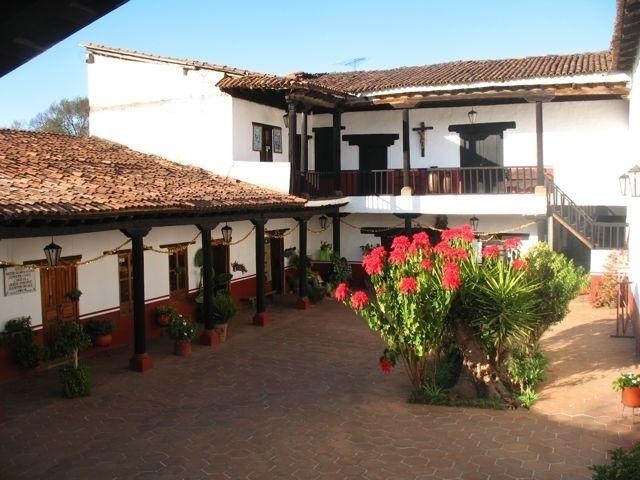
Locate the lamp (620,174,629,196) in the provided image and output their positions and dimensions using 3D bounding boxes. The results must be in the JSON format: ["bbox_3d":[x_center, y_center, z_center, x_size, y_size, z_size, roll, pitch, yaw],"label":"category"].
[{"bbox_3d":[9.930,-1.795,16.072,0.233,0.687,1.171,2,6,31],"label":"lamp"}]

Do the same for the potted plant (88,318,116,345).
[{"bbox_3d":[-5.253,2.204,11.854,0.567,0.616,0.565,1,-1,-23],"label":"potted plant"}]

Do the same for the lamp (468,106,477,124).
[{"bbox_3d":[5.554,-4.541,17.877,0.310,0.577,0.482,1,5,17],"label":"lamp"}]

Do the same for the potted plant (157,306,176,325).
[{"bbox_3d":[-4.152,1.986,13.362,0.518,0.589,0.565,1,-1,1],"label":"potted plant"}]

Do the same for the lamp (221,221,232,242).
[{"bbox_3d":[-2.672,-0.159,14.072,0.248,0.495,0.533,-2,5,-14],"label":"lamp"}]

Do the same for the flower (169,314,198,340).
[{"bbox_3d":[-3.331,2.020,11.869,0.486,0.467,0.608,5,44,-14],"label":"flower"}]

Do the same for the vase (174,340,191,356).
[{"bbox_3d":[-3.279,2.585,11.803,0.335,0.309,0.336,2,-4,-29],"label":"vase"}]

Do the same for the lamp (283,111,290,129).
[{"bbox_3d":[-1.210,-4.253,17.272,0.180,0.539,0.582,-2,5,-10],"label":"lamp"}]

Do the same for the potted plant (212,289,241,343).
[{"bbox_3d":[-2.418,2.103,13.338,0.681,1.318,0.794,-2,-15,38],"label":"potted plant"}]

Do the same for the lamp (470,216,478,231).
[{"bbox_3d":[5.619,-0.569,17.919,0.331,0.576,0.812,1,5,18],"label":"lamp"}]
